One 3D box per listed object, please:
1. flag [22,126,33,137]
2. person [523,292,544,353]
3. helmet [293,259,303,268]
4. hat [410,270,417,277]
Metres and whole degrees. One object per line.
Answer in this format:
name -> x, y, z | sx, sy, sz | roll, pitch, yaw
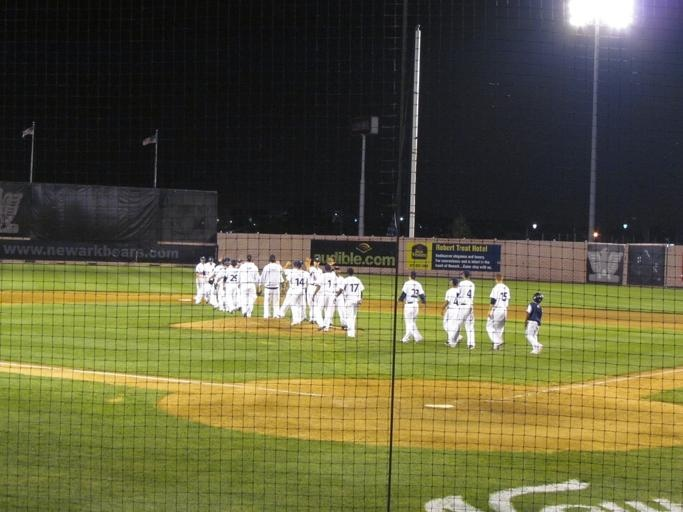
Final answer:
flag -> -20.321, -7.990, 85.062 | 0.471, 0.681, 1.610 | -7, 1, -17
person -> 7.728, 2.692, 52.804 | 0.691, 2.457, 1.397 | 2, -2, 9
helmet -> -1.912, 0.356, 56.757 | 0.320, 0.430, 0.431 | 1, 3, 6
hat -> 2.935, 0.721, 53.521 | 0.238, 0.267, 0.463 | 6, -4, -1
